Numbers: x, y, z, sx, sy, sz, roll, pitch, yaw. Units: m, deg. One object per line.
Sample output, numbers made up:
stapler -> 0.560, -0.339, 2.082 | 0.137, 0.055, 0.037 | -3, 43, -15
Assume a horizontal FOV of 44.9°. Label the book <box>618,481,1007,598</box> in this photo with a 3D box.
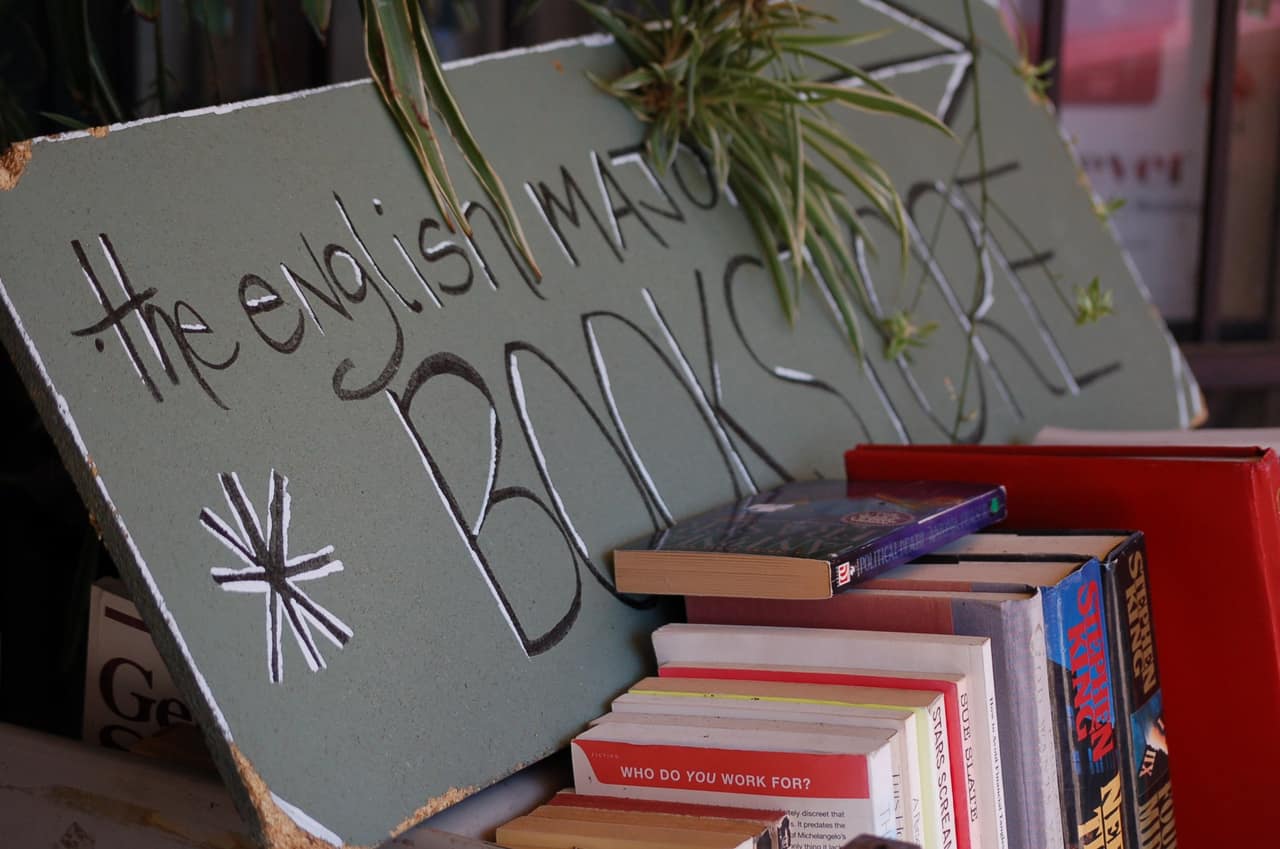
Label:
book -> 0.172, 0.103, 1.457 | 0.239, 0.056, 0.317 | -4, 7, 42
